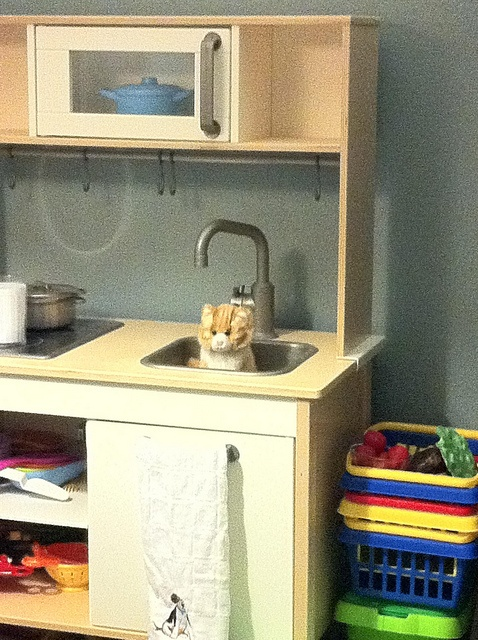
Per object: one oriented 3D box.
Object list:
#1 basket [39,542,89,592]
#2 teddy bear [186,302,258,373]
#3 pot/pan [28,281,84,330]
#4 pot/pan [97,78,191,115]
[{"bbox_3d":[-0.393,0.566,1.599,0.110,0.046,0.104,1,1,15],"label":"basket"},{"bbox_3d":[-0.045,0.043,1.487,0.147,0.149,0.131,-2,4,1],"label":"teddy bear"},{"bbox_3d":[-0.453,-0.039,1.730,0.123,0.079,0.128,0,7,6],"label":"pot/pan"},{"bbox_3d":[-0.205,-0.480,1.513,0.216,0.073,0.042,-1,5,19],"label":"pot/pan"}]
